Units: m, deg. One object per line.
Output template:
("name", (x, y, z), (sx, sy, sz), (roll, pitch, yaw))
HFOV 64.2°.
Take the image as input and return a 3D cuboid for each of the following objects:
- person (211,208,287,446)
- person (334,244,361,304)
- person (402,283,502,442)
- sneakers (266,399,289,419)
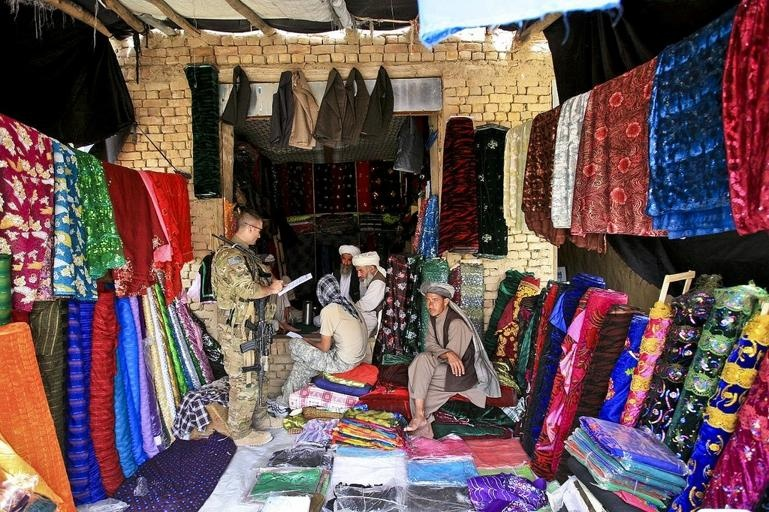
("person", (-1.256, 0.645, 5.646), (0.648, 2.106, 0.439), (2, 5, -17))
("person", (-0.471, 0.288, 7.797), (0.314, 0.850, 0.282), (4, 3, 9))
("person", (0.589, 1.010, 5.721), (0.928, 1.169, 0.450), (1, 5, -22))
("sneakers", (-1.048, 1.516, 6.092), (0.289, 0.128, 0.106), (16, 14, 17))
